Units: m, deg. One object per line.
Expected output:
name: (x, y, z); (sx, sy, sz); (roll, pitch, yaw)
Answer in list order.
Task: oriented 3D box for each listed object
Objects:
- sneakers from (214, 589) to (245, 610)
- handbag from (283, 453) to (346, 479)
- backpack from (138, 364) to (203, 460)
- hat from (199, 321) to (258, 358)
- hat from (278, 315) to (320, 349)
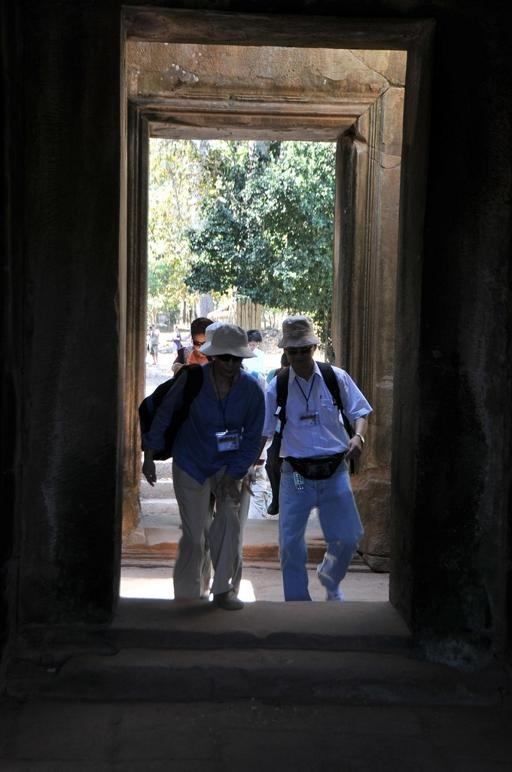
sneakers: (-0.118, 0.913, 3.426); (0.141, 0.115, 0.051); (-4, -3, 13)
handbag: (0.296, 0.412, 4.031); (0.280, 0.126, 0.093); (1, 9, 0)
backpack: (-0.383, 0.133, 3.649); (0.286, 0.445, 0.132); (-1, 9, -10)
hat: (-0.125, -0.193, 3.616); (0.238, 0.165, 0.257); (1, 10, 3)
hat: (0.218, -0.256, 4.068); (0.198, 0.181, 0.216); (1, 10, 3)
